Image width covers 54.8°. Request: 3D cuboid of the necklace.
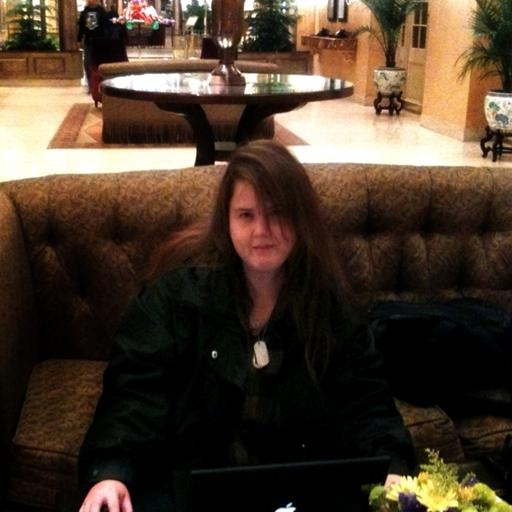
[{"bbox_3d":[0.015,0.148,1.130,0.091,0.215,0.045,2,-8,-9],"label":"necklace"}]
